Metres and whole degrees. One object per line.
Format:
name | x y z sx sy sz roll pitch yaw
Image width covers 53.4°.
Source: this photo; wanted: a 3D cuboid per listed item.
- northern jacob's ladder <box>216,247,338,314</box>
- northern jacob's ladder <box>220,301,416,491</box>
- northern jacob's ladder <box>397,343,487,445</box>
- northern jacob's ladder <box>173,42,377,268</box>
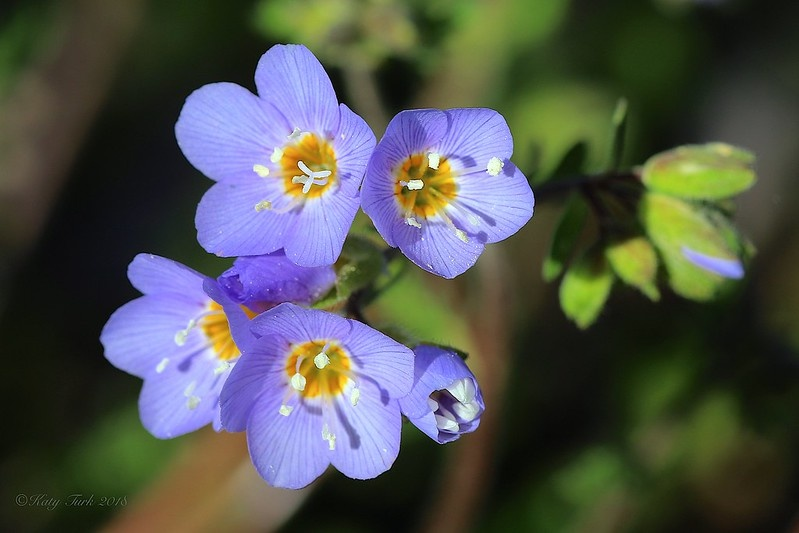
northern jacob's ladder | -0.304 0.037 1.993 0.293 0.126 0.086 -12 31 -14
northern jacob's ladder | -0.104 0.344 1.950 0.487 0.507 0.255 21 32 -37
northern jacob's ladder | 0.106 0.300 2.029 0.242 0.202 0.172 27 35 5
northern jacob's ladder | -0.294 -0.249 2.249 0.510 0.544 0.242 40 5 10
